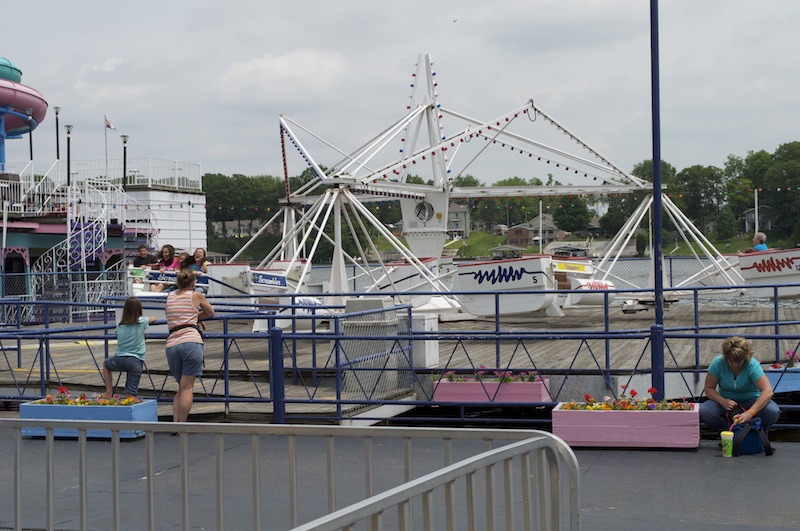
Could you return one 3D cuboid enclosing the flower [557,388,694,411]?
[{"bbox_3d":[7.164,4.237,57.763,4.062,0.713,0.513,-2,-2,3],"label":"flower"}]

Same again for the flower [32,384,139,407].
[{"bbox_3d":[-9.883,4.176,58.848,3.318,0.642,1.531,-1,-2,0],"label":"flower"}]
